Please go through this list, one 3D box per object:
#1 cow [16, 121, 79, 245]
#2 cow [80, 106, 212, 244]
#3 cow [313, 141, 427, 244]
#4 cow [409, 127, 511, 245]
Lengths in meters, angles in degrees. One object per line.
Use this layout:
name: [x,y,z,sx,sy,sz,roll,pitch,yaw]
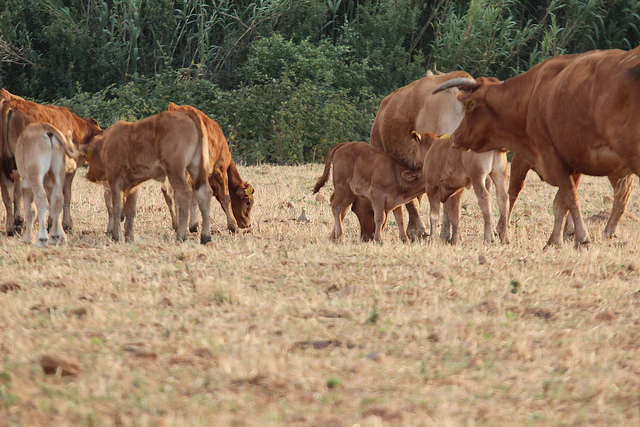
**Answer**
cow: [-5.987,-0.776,19.978,1.375,2.488,4.473,-2,3,-23]
cow: [-3.139,-0.692,18.460,2.024,2.531,0.928,0,17,0]
cow: [1.234,-0.411,19.531,3.345,2.218,0.892,9,8,41]
cow: [2.674,-0.577,19.056,0.962,2.496,3.033,1,-4,-26]
